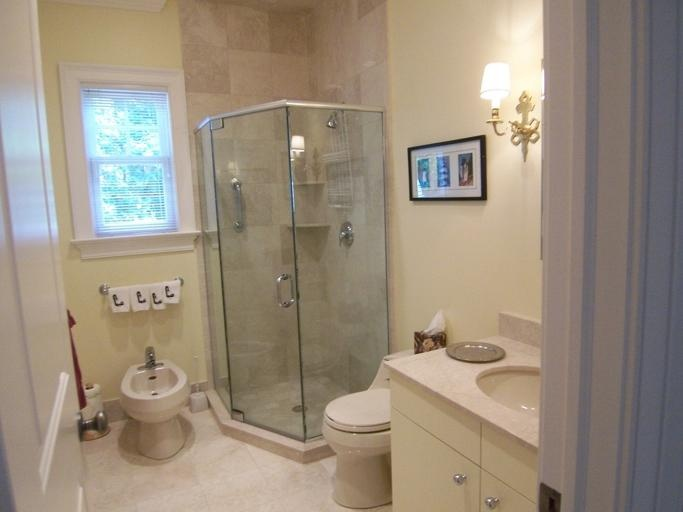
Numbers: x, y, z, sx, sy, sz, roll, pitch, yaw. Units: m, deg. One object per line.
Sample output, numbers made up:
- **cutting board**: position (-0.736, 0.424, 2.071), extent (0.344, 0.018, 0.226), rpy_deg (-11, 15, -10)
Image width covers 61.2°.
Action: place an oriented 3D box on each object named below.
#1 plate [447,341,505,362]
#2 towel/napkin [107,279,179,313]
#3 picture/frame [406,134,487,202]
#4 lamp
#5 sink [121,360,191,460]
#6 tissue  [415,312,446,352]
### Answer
- **plate**: position (0.518, 0.364, 2.207), extent (0.219, 0.016, 0.229), rpy_deg (-6, 10, -16)
- **towel/napkin**: position (-1.231, 0.259, 3.589), extent (0.460, 0.189, 0.096), rpy_deg (-7, 11, -22)
- **picture/frame**: position (0.484, -0.396, 2.710), extent (0.010, 0.280, 0.452), rpy_deg (-11, 10, -39)
- **lamp**: position (0.645, -0.563, 2.248), extent (0.185, 0.339, 0.158), rpy_deg (-2, 6, -18)
- **sink**: position (-1.067, 0.900, 3.349), extent (0.324, 0.420, 0.579), rpy_deg (-8, 11, -22)
- **tissue **: position (0.431, 0.362, 2.754), extent (0.170, 0.205, 0.020), rpy_deg (-3, 10, -14)
